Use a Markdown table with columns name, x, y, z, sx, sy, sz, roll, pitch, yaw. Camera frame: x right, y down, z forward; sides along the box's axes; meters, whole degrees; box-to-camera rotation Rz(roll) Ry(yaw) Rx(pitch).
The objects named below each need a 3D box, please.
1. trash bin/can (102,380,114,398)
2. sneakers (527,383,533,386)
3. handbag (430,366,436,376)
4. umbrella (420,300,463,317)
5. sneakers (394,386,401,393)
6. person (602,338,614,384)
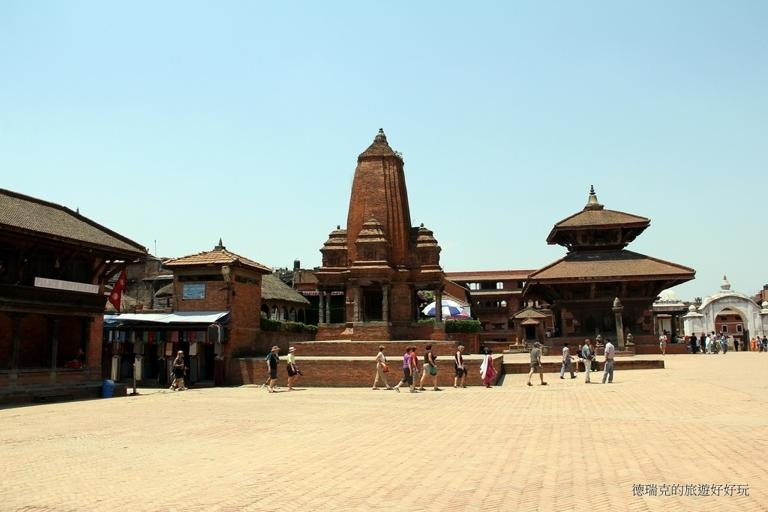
| name | x | y | z | sx | sy | sz | roll | pitch | yaw |
| --- | --- | --- | --- | --- | --- | --- | --- | --- | --- |
| trash bin/can | -11.889 | 5.682 | 28.033 | 0.552 | 0.680 | 0.519 | 1 | -10 | -9 |
| sneakers | 6.129 | 5.382 | 27.566 | 0.219 | 0.140 | 0.698 | -2 | -9 | 12 |
| handbag | 2.004 | 4.730 | 26.900 | 0.203 | 0.343 | 0.475 | -2 | -9 | 11 |
| umbrella | 4.099 | 3.810 | 46.935 | 2.576 | 0.688 | 2.239 | 0 | -10 | 2 |
| sneakers | 0.516 | 5.569 | 27.194 | 0.131 | 0.144 | 0.330 | -2 | -49 | 30 |
| person | 9.250 | 4.422 | 27.169 | 0.490 | 1.617 | 1.021 | -4 | -11 | 16 |
